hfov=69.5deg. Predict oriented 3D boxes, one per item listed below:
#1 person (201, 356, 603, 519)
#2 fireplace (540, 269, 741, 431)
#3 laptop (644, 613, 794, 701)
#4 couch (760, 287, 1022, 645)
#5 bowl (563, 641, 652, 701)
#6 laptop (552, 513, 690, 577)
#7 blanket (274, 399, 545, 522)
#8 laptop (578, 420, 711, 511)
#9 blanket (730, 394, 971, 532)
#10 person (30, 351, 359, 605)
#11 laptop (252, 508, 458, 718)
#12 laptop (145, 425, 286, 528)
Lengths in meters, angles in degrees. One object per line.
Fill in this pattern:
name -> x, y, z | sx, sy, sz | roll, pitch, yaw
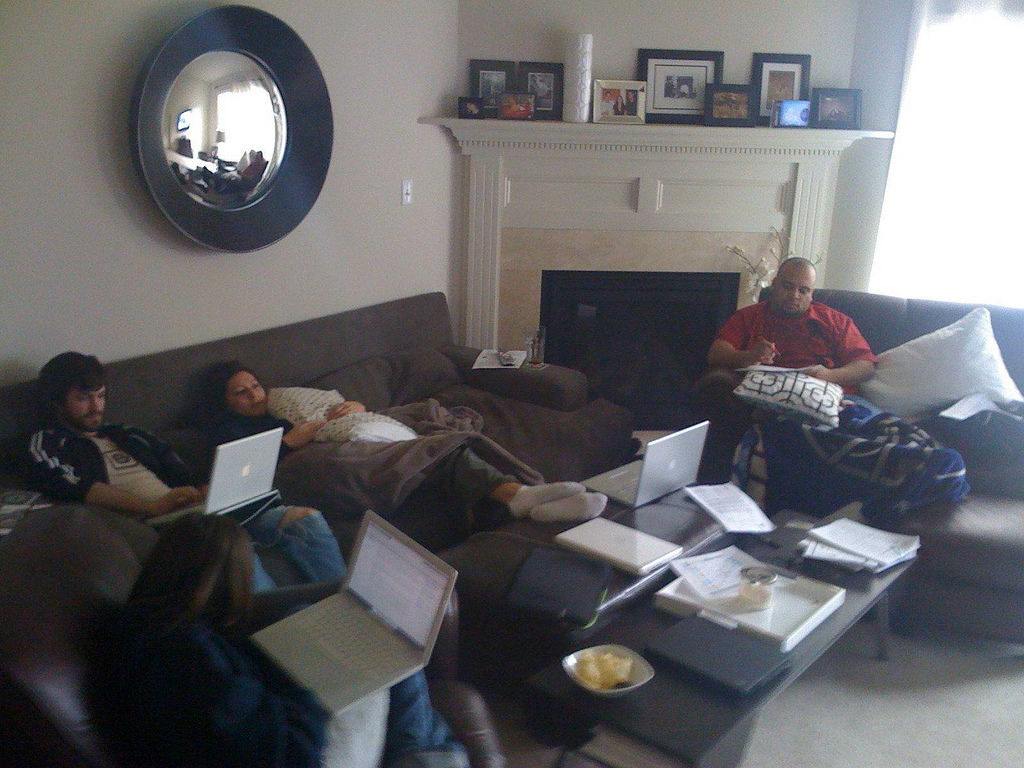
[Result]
person -> -0.454, 0.247, 2.545 | 1.106, 0.364, 0.635 | 18, 21, 24
fireplace -> 0.746, -0.223, 4.323 | 1.150, 0.929, 0.331 | 1, 21, 7
laptop -> 0.491, 0.640, 1.734 | 0.295, 0.063, 0.208 | 13, 25, 34
couch -> 1.423, 0.243, 2.927 | 1.167, 0.976, 1.093 | 3, 15, 20
bowl -> 0.199, 0.667, 1.698 | 0.127, 0.143, 0.043 | 1, 52, 23
laptop -> 0.317, 0.456, 2.130 | 0.295, 0.044, 0.251 | 17, 27, 41
blanket -> -0.422, 0.279, 2.581 | 0.524, 0.171, 0.510 | -14, 24, -36
laptop -> 0.433, 0.237, 2.478 | 0.376, 0.267, 0.279 | -20, 27, -40
blanket -> 1.247, 0.316, 2.811 | 0.607, 0.374, 0.789 | -14, 23, -29
person -> -0.915, 0.255, 2.091 | 1.058, 0.618, 0.487 | 6, 10, 25
laptop -> -0.312, 0.434, 1.451 | 0.264, 0.195, 0.282 | 25, 26, 35
laptop -> -0.900, 0.241, 2.188 | 0.270, 0.203, 0.348 | 7, 5, 8
